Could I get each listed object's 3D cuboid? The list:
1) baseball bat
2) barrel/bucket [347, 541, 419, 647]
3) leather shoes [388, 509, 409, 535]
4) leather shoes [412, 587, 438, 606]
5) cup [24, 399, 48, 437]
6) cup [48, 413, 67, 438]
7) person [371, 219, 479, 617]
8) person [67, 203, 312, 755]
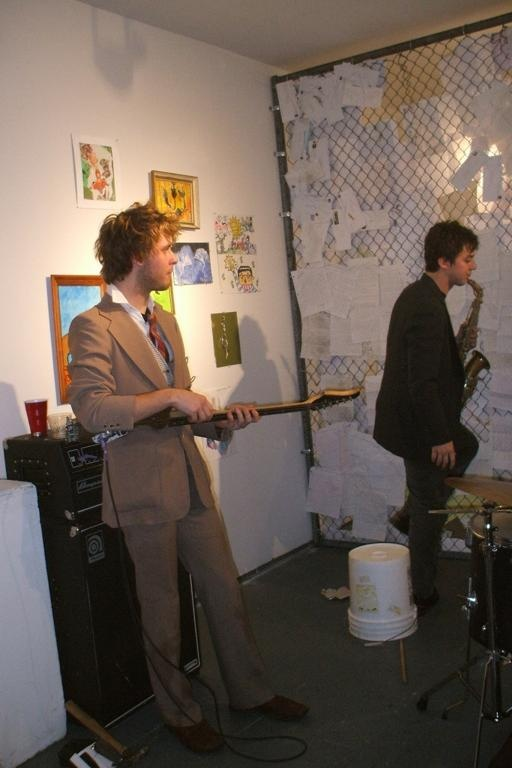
[{"bbox_3d":[-0.526,1.084,2.003,0.319,0.025,0.084,26,-13,40],"label":"baseball bat"},{"bbox_3d":[0.394,0.714,2.208,0.312,0.314,0.296,-4,2,0],"label":"barrel/bucket"},{"bbox_3d":[0.659,0.623,2.851,0.117,0.162,0.043,16,53,23],"label":"leather shoes"},{"bbox_3d":[0.737,0.926,2.747,0.056,0.068,0.169,3,0,41],"label":"leather shoes"},{"bbox_3d":[-0.752,0.116,2.150,0.069,0.107,0.133,-7,3,-18],"label":"cup"},{"bbox_3d":[-0.675,0.141,2.111,0.075,0.081,0.078,1,2,0],"label":"cup"},{"bbox_3d":[0.698,0.163,2.601,0.460,1.641,0.398,-3,4,36],"label":"person"},{"bbox_3d":[-0.266,0.278,1.901,0.420,1.281,0.580,-3,4,42],"label":"person"}]
